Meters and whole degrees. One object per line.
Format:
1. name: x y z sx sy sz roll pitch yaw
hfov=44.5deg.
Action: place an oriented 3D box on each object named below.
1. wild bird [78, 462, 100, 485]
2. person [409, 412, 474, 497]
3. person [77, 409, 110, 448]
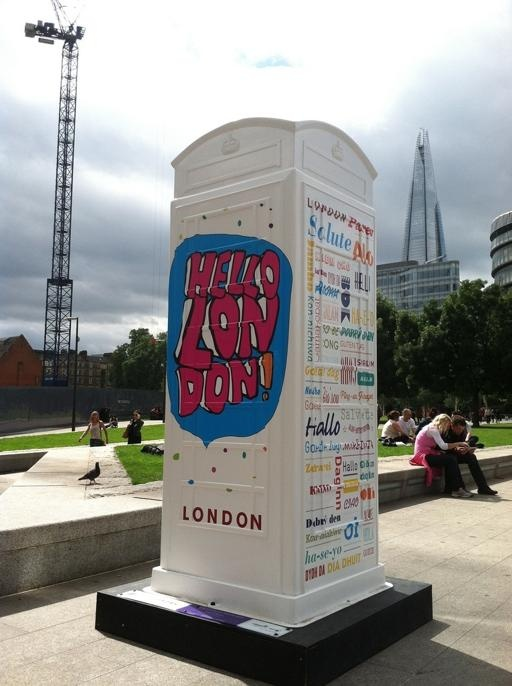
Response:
1. wild bird: -2.286 1.756 8.568 0.255 0.330 0.792 5 -3 -15
2. person: 3.114 1.877 10.613 0.943 1.297 0.707 3 -3 14
3. person: -4.585 2.459 17.994 0.474 1.137 2.550 4 -3 -15
